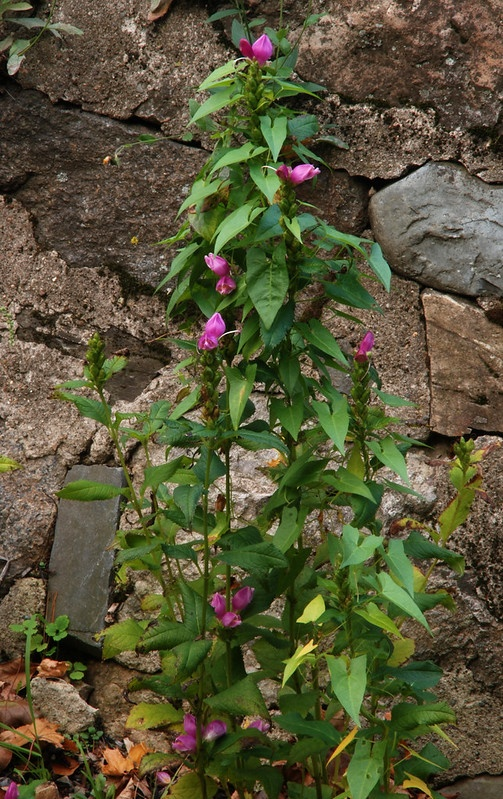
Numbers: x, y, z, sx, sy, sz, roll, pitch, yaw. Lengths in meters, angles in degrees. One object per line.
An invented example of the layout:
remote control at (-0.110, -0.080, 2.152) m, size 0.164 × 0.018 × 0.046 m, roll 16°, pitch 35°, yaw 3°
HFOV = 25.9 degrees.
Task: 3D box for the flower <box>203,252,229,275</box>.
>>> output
flower at (-0.065, -0.274, 2.258) m, size 0.061 × 0.034 × 0.020 m, roll 34°, pitch 32°, yaw -23°

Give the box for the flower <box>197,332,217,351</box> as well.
flower at (-0.088, -0.116, 2.206) m, size 0.039 × 0.023 × 0.042 m, roll -2°, pitch 2°, yaw 7°

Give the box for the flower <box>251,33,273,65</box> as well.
flower at (0.022, -0.710, 2.239) m, size 0.038 × 0.059 × 0.065 m, roll 1°, pitch 29°, yaw 1°

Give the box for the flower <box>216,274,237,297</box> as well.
flower at (-0.051, -0.235, 2.278) m, size 0.039 × 0.033 × 0.040 m, roll 7°, pitch 40°, yaw 1°
